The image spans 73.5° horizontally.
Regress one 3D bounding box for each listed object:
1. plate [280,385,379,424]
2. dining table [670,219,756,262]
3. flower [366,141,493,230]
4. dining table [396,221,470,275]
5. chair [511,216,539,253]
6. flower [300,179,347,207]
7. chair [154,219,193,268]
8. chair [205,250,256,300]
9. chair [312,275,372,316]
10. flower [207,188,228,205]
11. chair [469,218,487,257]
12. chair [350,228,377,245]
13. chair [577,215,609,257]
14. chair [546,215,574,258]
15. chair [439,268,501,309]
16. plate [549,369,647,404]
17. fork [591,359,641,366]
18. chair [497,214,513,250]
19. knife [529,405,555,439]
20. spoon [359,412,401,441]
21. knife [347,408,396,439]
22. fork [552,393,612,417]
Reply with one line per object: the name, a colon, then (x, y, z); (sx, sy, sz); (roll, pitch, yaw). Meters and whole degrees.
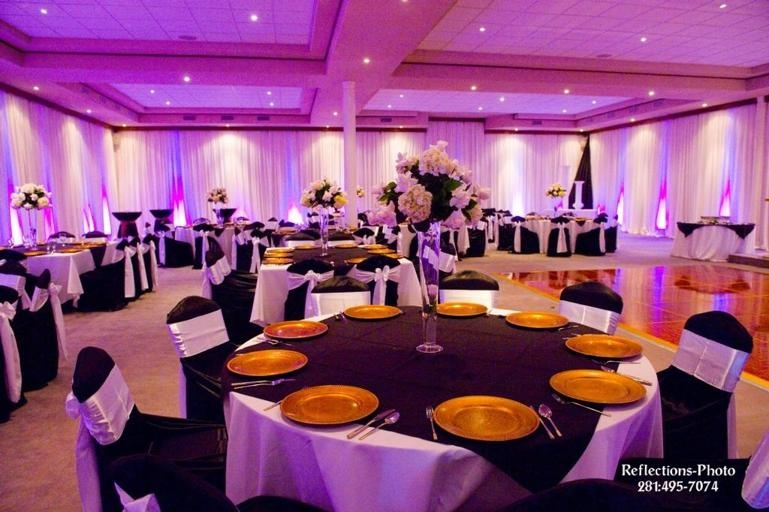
plate: (-0.280, 0.782, 2.653); (0.441, 0.420, 0.041); (7, 38, -15)
dining table: (6.479, -0.283, 10.028); (1.064, 0.587, 0.887); (-3, 11, -2)
flower: (0.257, -0.419, 3.204); (0.612, 0.503, 0.590); (-5, 18, -16)
dining table: (0.826, -0.100, 8.584); (1.054, 1.255, 0.982); (5, 0, -8)
chair: (3.318, -0.490, 12.021); (0.685, 0.844, 0.684); (0, 4, 34)
flower: (-0.685, -0.674, 5.872); (0.404, 0.271, 0.393); (0, 4, 5)
chair: (-4.486, -0.322, 11.080); (0.869, 1.399, 0.883); (-4, 13, -22)
chair: (-1.686, 0.168, 5.599); (0.620, 0.593, 0.402); (1, 29, -15)
chair: (-0.349, 0.300, 4.072); (0.352, 0.254, 0.341); (0, -1, -4)
flower: (-3.722, -1.322, 11.449); (0.308, 0.309, 0.479); (-2, 8, 3)
chair: (2.024, -0.391, 11.184); (0.410, 0.493, 0.366); (-3, -4, -11)
chair: (-0.302, -0.283, 7.943); (0.270, 0.248, 0.340); (1, 12, 2)
chair: (4.619, -0.395, 11.488); (0.905, 0.930, 0.880); (1, -1, 5)
chair: (3.856, -0.412, 11.317); (0.498, 0.851, 0.586); (0, 8, 17)
chair: (0.734, 0.264, 4.308); (0.394, 0.287, 0.381); (-12, -14, 23)
plate: (1.125, 0.700, 2.720); (0.458, 0.048, 0.453); (-1, 8, 1)
fork: (1.329, 0.619, 2.969); (0.141, 0.019, 0.023); (2, 14, 7)
chair: (2.942, -0.506, 12.478); (0.365, 0.768, 1.189); (-1, 8, 12)
knife: (0.803, 0.832, 2.571); (0.053, 0.023, 0.168); (3, 22, -9)
spoon: (0.007, 0.828, 2.580); (0.068, 0.045, 0.358); (21, 22, 32)
knife: (-0.066, 0.842, 2.552); (0.298, 0.019, 0.048); (-15, 31, -41)
fork: (1.011, 0.772, 2.637); (0.198, 0.026, 0.031); (18, 37, 23)
